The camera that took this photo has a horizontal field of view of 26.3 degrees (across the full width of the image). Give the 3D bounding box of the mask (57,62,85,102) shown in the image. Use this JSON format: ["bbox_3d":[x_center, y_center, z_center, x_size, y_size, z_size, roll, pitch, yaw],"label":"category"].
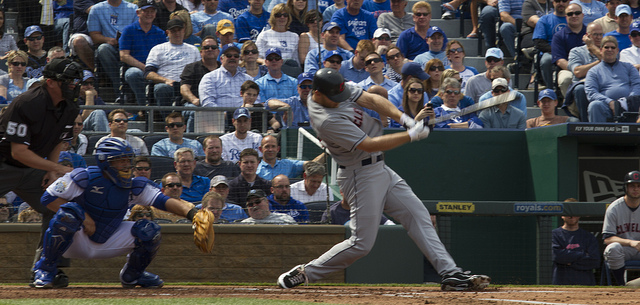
[{"bbox_3d":[-4.190,-1.175,22.862,0.404,0.613,0.337,2,-1,-12],"label":"mask"}]

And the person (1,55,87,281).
[{"bbox_3d":[-4.765,0.216,23.045,1.215,3.435,0.985,5,-1,-32],"label":"person"}]

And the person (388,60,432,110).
[{"bbox_3d":[1.639,-1.315,26.085,0.690,0.996,0.642,2,1,15],"label":"person"}]

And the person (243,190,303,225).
[{"bbox_3d":[-0.904,0.941,24.292,0.721,0.593,0.734,1,0,-35],"label":"person"}]

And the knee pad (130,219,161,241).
[{"bbox_3d":[-2.982,1.279,23.006,0.488,0.315,0.116,3,-1,-6],"label":"knee pad"}]

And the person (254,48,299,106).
[{"bbox_3d":[-0.850,-1.379,26.277,0.773,1.165,0.617,3,1,-11],"label":"person"}]
